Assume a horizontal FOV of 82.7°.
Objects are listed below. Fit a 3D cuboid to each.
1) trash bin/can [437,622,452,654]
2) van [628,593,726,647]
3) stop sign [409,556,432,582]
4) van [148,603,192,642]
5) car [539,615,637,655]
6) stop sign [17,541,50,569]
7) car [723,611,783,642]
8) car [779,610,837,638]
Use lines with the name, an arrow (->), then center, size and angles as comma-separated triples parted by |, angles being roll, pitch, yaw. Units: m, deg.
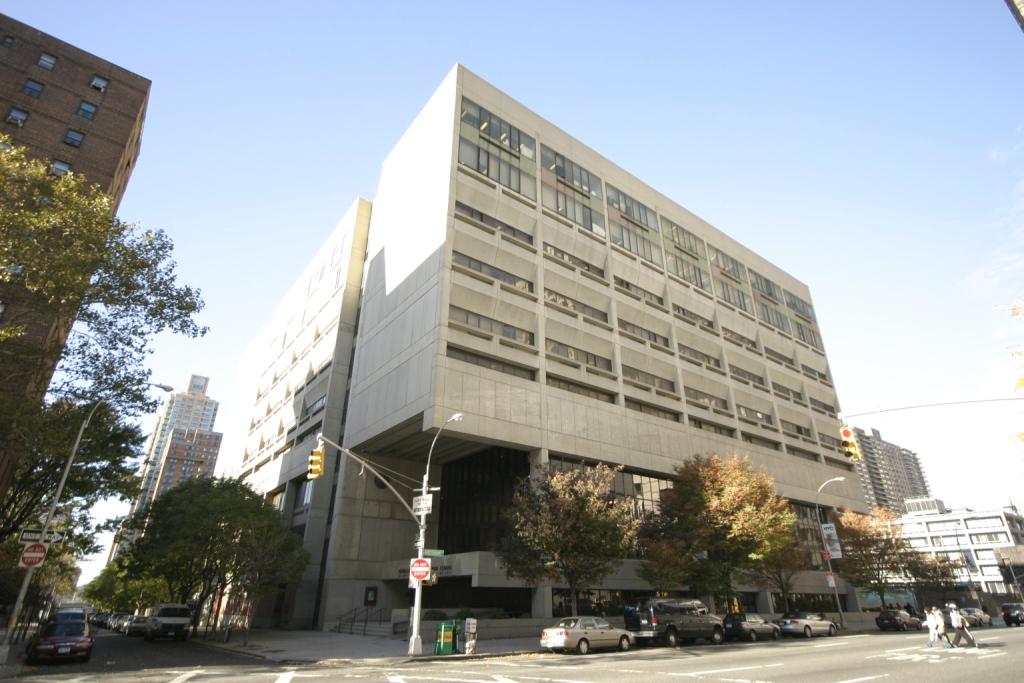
trash bin/can -> -4.042, 17.980, 35.623 | 1.087, 1.735, 0.587 | 3, -27, -6
van -> 11.339, 19.466, 40.815 | 7.298, 2.835, 2.503 | 15, -30, -30
stop sign -> -5.582, 13.909, 35.809 | 1.184, 1.493, 1.274 | 5, -26, -11
van -> -27.193, 22.183, 46.160 | 2.621, 1.976, 3.911 | 18, -47, -28
car -> 4.619, 18.136, 36.266 | 5.333, 1.926, 1.568 | 10, -28, -21
stop sign -> -26.842, 11.868, 32.707 | 0.926, 1.360, 1.562 | 15, -30, -29
car -> 17.786, 21.143, 43.483 | 4.789, 1.768, 1.810 | 15, -30, -31
car -> 23.174, 22.047, 45.693 | 4.873, 1.664, 1.184 | 11, -28, -24
